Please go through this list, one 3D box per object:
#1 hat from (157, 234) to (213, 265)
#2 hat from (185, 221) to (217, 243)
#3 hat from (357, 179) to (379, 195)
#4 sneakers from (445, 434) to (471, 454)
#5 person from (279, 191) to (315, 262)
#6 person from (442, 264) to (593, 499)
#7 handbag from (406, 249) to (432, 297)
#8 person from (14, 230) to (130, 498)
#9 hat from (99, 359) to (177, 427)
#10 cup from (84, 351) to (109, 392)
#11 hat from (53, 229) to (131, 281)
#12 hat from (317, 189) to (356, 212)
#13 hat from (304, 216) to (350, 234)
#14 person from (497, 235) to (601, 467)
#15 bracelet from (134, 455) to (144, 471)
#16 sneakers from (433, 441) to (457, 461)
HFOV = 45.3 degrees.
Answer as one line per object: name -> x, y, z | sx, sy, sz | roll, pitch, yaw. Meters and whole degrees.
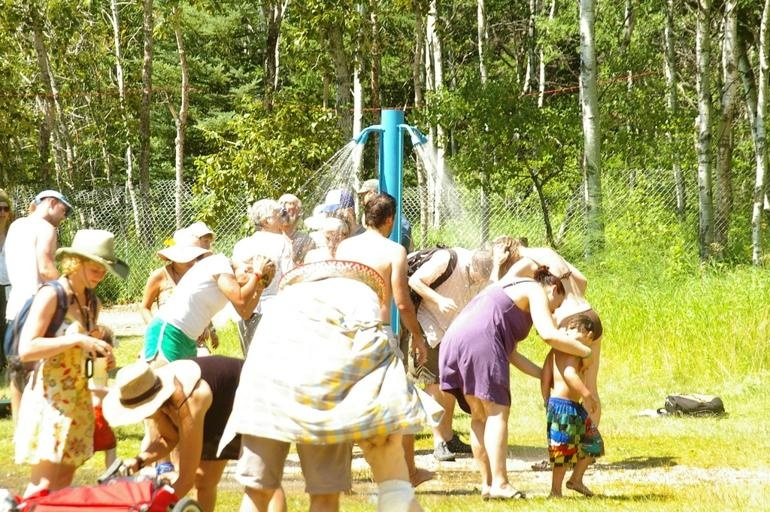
hat -> -2.440, -0.073, 11.349 | 0.547, 0.241, 0.552 | -5, 7, -38
hat -> -2.289, -0.285, 11.417 | 0.320, 0.114, 0.373 | 20, -26, 18
hat -> -0.197, -0.931, 12.448 | 0.253, 0.162, 0.200 | 4, -2, -17
sneakers -> 0.951, 2.403, 11.744 | 0.403, 0.216, 0.156 | 1, 2, 5
person -> -1.128, -0.349, 11.843 | 0.427, 0.875, 0.771 | 3, -11, -40
person -> 1.241, 1.397, 9.814 | 1.293, 2.313, 0.553 | 0, 6, 3
handbag -> 0.413, 0.226, 10.793 | 0.451, 0.284, 0.387 | 5, 33, 27
person -> -3.157, 1.045, 9.138 | 1.022, 2.536, 0.638 | -3, 6, -25
hat -> -2.333, 1.285, 8.682 | 0.699, 0.547, 0.306 | 1, 6, 11
cup -> -2.924, 1.183, 9.384 | 0.277, 0.502, 0.273 | -1, -1, 0
hat -> -2.890, 0.068, 9.272 | 0.547, 0.338, 0.492 | 25, -6, -22
hat -> -0.606, -0.678, 11.370 | 0.243, 0.211, 0.350 | -3, 7, -28
hat -> -0.700, -0.379, 10.829 | 0.396, 0.142, 0.274 | 10, 5, 43
person -> 1.971, 1.012, 11.025 | 1.246, 2.451, 1.056 | -22, 15, -18
bracelet -> -2.316, 1.950, 8.700 | 0.075, 0.128, 0.031 | 1, -2, 15
sneakers -> 0.747, 2.430, 11.440 | 0.134, 0.181, 0.324 | 1, -6, -31
